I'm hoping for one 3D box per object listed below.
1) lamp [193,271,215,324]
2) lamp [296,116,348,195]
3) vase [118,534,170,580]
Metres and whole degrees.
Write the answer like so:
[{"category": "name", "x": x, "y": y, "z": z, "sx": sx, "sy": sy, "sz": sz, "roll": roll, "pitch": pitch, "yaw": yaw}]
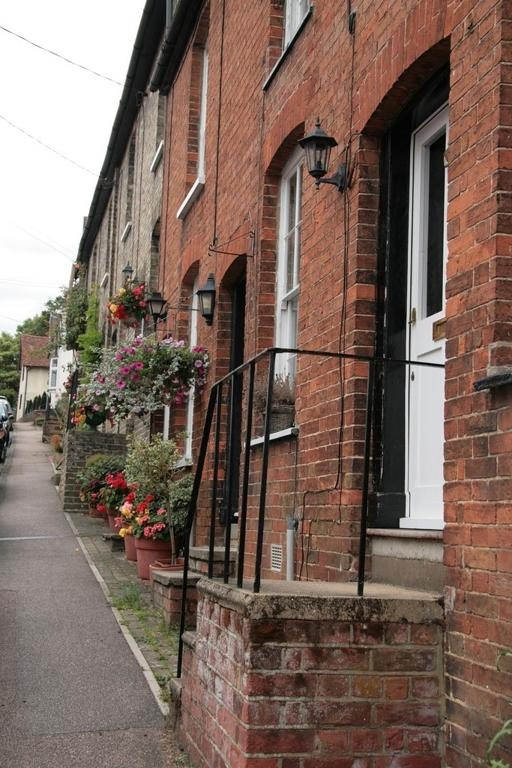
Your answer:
[{"category": "lamp", "x": -0.533, "y": -0.911, "z": 7.365, "sx": 0.205, "sy": 0.499, "sz": 0.331, "roll": 3, "pitch": -5, "yaw": -5}, {"category": "lamp", "x": 0.376, "y": -1.281, "z": 3.840, "sx": 0.222, "sy": 0.426, "sz": 0.201, "roll": 1, "pitch": -2, "yaw": -23}, {"category": "vase", "x": -1.147, "y": 1.822, "z": 7.404, "sx": 0.497, "sy": 0.489, "sz": 0.576, "roll": 1, "pitch": -14, "yaw": 2}]
